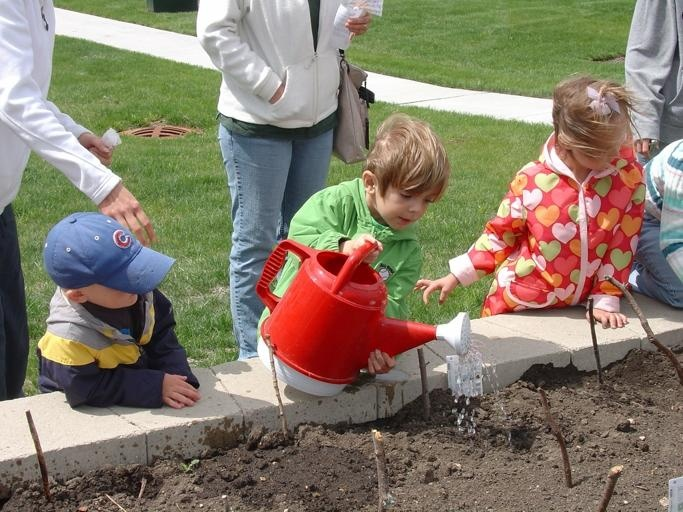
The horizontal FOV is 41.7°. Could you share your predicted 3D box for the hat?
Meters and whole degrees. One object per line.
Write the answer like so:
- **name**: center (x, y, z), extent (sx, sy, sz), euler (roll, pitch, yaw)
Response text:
- **hat**: center (-1.011, -0.005, 4.038), extent (0.518, 0.259, 0.330), euler (4, 38, 6)
